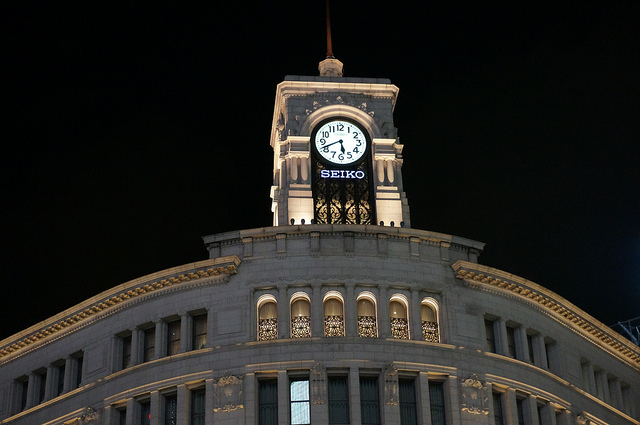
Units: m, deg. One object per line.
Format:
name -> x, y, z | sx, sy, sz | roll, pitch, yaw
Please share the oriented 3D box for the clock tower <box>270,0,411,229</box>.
clock tower -> 1.490, -6.141, 109.297 | 11.234, 15.046, 7.794 | 5, -58, -2
